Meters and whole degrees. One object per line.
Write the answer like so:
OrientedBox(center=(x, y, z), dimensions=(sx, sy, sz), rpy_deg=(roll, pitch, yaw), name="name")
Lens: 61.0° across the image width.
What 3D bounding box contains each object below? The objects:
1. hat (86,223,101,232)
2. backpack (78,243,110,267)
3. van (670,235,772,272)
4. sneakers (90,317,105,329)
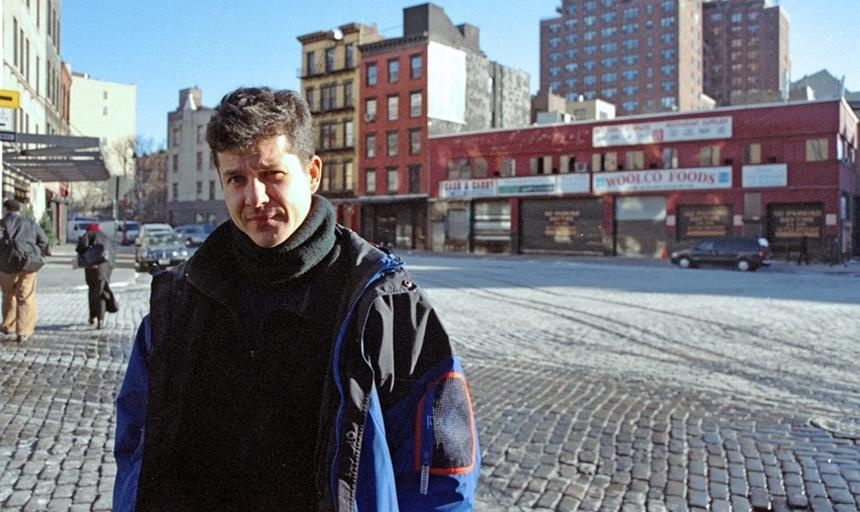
OrientedBox(center=(-7.083, -0.606, 15.223), dimensions=(0.259, 0.130, 0.357), rpy_deg=(-2, 2, -18), name="hat")
OrientedBox(center=(-6.906, -0.037, 14.864), dimensions=(0.402, 0.213, 0.513), rpy_deg=(-30, 15, -32), name="backpack")
OrientedBox(center=(12.861, -0.114, 31.757), dimensions=(3.409, 1.305, 1.678), rpy_deg=(5, 2, 37), name="van")
OrientedBox(center=(-6.870, 1.350, 14.955), dimensions=(0.162, 0.237, 0.536), rpy_deg=(16, 7, -24), name="sneakers")
